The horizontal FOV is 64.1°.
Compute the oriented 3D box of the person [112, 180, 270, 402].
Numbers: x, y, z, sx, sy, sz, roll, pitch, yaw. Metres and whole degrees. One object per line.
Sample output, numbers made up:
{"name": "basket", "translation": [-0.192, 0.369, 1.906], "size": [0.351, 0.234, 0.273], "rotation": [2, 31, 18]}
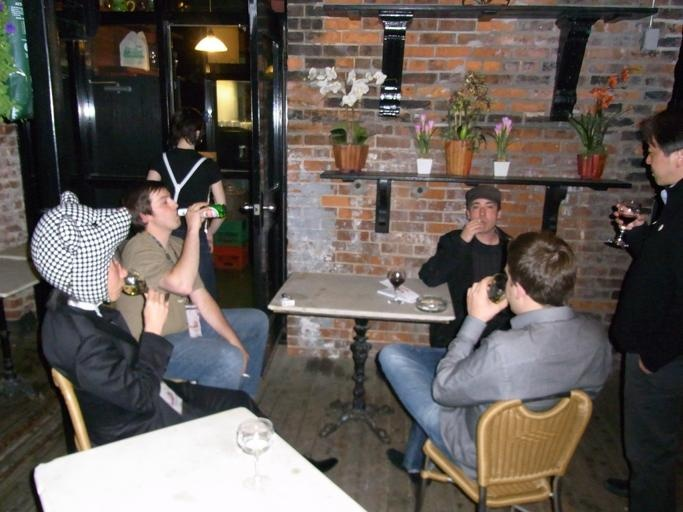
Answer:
{"name": "person", "translation": [-0.915, 0.340, 3.287], "size": [0.862, 1.435, 0.755], "rotation": [2, 17, 5]}

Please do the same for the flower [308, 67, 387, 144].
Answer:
{"name": "flower", "translation": [0.045, -1.068, 3.907], "size": [0.549, 0.528, 0.180], "rotation": [3, 9, 35]}

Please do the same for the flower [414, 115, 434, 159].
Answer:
{"name": "flower", "translation": [0.612, -0.856, 3.914], "size": [0.206, 0.295, 0.201], "rotation": [-4, 6, -6]}

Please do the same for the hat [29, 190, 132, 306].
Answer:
{"name": "hat", "translation": [-1.120, -0.085, 2.504], "size": [0.503, 0.487, 0.355], "rotation": [15, 16, -13]}

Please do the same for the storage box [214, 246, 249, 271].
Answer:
{"name": "storage box", "translation": [-1.368, -0.007, 6.756], "size": [0.313, 0.185, 0.306], "rotation": [0, 13, -3]}

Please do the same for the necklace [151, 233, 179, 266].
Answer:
{"name": "necklace", "translation": [-1.022, -0.038, 3.245], "size": [0.157, 0.144, 0.120], "rotation": [-6, 2, 3]}

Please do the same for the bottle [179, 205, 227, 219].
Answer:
{"name": "bottle", "translation": [-0.887, -0.263, 3.331], "size": [0.347, 0.105, 0.111], "rotation": [-2, 1, 9]}

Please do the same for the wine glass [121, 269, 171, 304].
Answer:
{"name": "wine glass", "translation": [-0.988, 0.139, 2.763], "size": [0.124, 0.103, 0.258], "rotation": [8, -3, 8]}

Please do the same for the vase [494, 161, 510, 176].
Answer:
{"name": "vase", "translation": [1.119, -0.614, 3.825], "size": [0.124, 0.096, 0.097], "rotation": [1, 7, 8]}

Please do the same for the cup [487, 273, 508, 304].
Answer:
{"name": "cup", "translation": [0.755, 0.152, 2.631], "size": [0.099, 0.114, 0.126], "rotation": [2, 8, 15]}

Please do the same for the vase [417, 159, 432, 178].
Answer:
{"name": "vase", "translation": [0.582, -0.633, 3.902], "size": [0.116, 0.098, 0.128], "rotation": [2, 10, 0]}

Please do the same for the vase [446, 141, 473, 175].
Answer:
{"name": "vase", "translation": [0.805, -0.689, 3.795], "size": [0.229, 0.240, 0.224], "rotation": [-1, 9, 2]}

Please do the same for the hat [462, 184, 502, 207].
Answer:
{"name": "hat", "translation": [0.935, -0.391, 3.583], "size": [0.218, 0.150, 0.143], "rotation": [7, 21, 7]}

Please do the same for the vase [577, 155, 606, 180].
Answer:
{"name": "vase", "translation": [1.725, -0.630, 3.832], "size": [0.186, 0.190, 0.184], "rotation": [4, 9, 14]}

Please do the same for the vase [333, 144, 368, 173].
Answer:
{"name": "vase", "translation": [0.069, -0.729, 3.920], "size": [0.218, 0.151, 0.218], "rotation": [10, 22, 27]}

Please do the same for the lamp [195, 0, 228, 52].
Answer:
{"name": "lamp", "translation": [-1.825, -3.199, 7.619], "size": [0.388, 0.642, 1.414], "rotation": [-1, 21, -14]}

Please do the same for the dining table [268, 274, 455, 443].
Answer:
{"name": "dining table", "translation": [0.143, 0.452, 3.845], "size": [1.328, 0.993, 1.022], "rotation": [3, 29, 5]}

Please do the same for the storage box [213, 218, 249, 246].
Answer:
{"name": "storage box", "translation": [-1.337, -0.309, 6.530], "size": [0.354, 0.329, 0.259], "rotation": [4, 5, 2]}

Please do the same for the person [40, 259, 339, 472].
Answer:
{"name": "person", "translation": [-0.746, 0.568, 2.743], "size": [1.201, 1.363, 0.629], "rotation": [-8, 14, -23]}
